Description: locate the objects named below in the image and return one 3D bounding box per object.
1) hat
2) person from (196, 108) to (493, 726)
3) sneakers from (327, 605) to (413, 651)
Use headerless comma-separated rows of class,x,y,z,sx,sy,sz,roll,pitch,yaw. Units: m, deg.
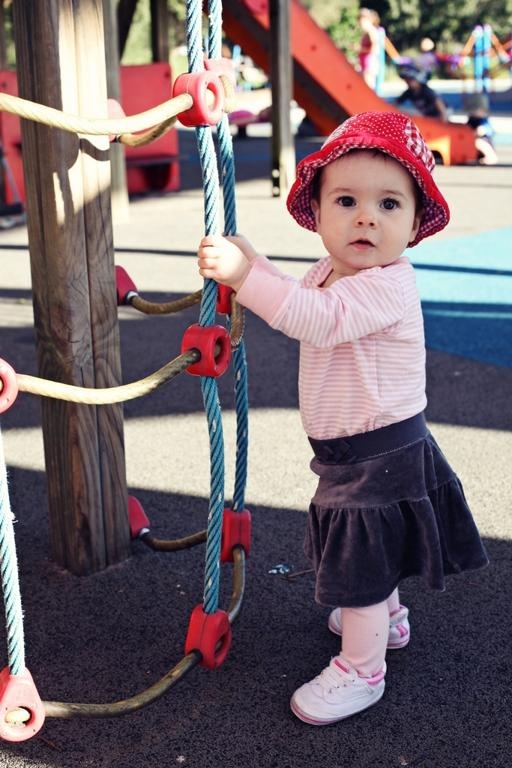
hat,0.189,-0.346,1.470,0.262,0.260,0.138,14,64,0
person,0.147,0.039,1.486,0.457,0.942,0.477,-10,26,-19
sneakers,0.200,0.441,1.686,0.182,0.071,0.067,12,18,41
